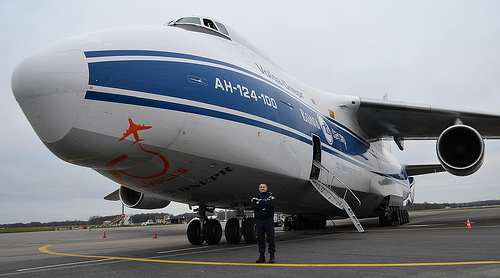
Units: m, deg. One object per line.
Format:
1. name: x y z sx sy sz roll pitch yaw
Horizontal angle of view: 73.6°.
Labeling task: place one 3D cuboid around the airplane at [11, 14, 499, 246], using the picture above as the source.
1. airplane: 0.299 0.180 12.743 10.854 3.473 10.258 -7 -13 39

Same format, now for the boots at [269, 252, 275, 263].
1. boots: 0.629 3.364 9.500 0.168 0.264 0.236 -3 -7 2

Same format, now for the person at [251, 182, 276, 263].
1. person: 0.421 2.432 9.751 0.667 2.207 0.486 -3 -8 0

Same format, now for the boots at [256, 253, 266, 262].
1. boots: 0.333 3.399 9.496 0.333 0.265 0.155 1 -5 5
